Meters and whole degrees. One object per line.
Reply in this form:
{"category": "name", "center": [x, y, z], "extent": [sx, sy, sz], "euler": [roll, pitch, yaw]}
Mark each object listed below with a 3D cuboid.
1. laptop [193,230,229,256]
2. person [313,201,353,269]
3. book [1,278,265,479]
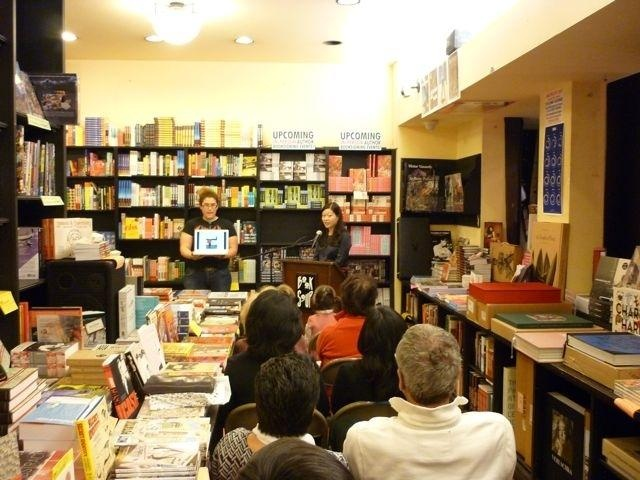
{"category": "laptop", "center": [-1.199, 0.023, 5.519], "extent": [0.419, 0.306, 0.252], "euler": [-1, -6, -2]}
{"category": "person", "center": [0.160, -0.076, 5.962], "extent": [0.302, 0.732, 0.542], "euler": [-3, 5, -24]}
{"category": "book", "center": [-0.850, 0.713, 2.342], "extent": [0.755, 0.445, 0.986], "euler": [-1, 5, 3]}
